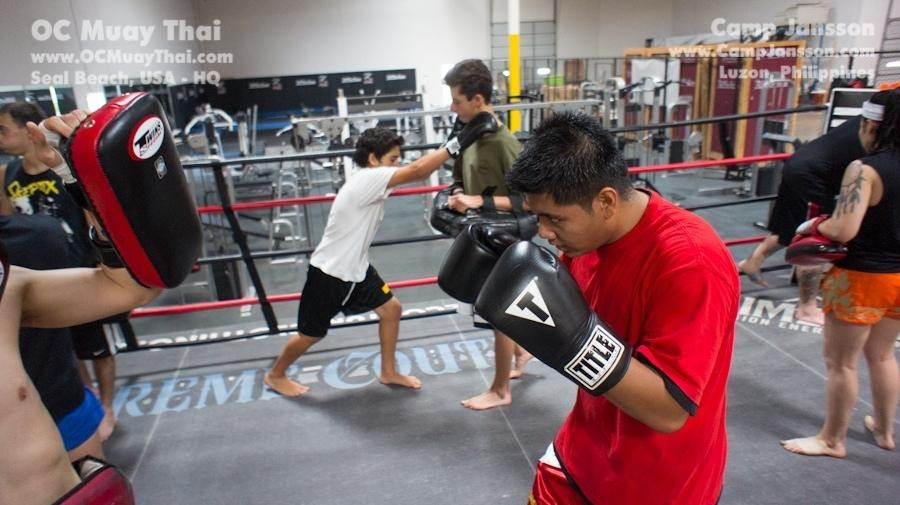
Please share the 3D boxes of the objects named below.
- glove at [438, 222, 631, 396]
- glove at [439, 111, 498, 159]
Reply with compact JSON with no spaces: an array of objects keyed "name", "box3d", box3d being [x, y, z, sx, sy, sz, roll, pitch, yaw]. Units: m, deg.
[{"name":"glove","box3d":[0.356,0.319,2.552,0.388,0.854,0.616,-41,13,53]},{"name":"glove","box3d":[0.142,-0.793,3.712,0.385,0.235,0.162,-32,-31,23]}]
